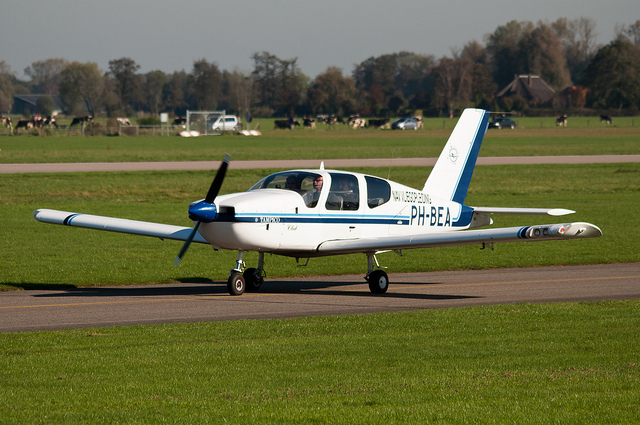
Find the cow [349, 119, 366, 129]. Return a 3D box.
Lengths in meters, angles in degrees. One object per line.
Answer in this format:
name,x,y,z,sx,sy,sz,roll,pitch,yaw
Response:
cow,3.698,-8.912,123.353,1.616,0.563,1.452,-1,-3,1

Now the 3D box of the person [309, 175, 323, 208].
person,-0.158,-0.859,47.162,0.414,1.208,0.436,4,5,1

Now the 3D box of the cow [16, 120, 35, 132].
cow,-24.841,-7.542,104.797,1.350,0.660,1.755,0,2,-3

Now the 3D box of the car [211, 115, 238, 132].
car,-8.301,-7.828,107.858,2.508,1.208,0.968,-3,6,-36

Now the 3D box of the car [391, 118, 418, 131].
car,8.342,-8.837,122.732,2.318,1.043,1.332,0,1,-36

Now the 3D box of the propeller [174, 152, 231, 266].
propeller,-5.158,-0.071,54.083,0.865,6.206,0.769,30,5,16

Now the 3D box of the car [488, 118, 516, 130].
car,18.078,-8.698,122.852,2.949,0.884,1.266,-7,12,-19
